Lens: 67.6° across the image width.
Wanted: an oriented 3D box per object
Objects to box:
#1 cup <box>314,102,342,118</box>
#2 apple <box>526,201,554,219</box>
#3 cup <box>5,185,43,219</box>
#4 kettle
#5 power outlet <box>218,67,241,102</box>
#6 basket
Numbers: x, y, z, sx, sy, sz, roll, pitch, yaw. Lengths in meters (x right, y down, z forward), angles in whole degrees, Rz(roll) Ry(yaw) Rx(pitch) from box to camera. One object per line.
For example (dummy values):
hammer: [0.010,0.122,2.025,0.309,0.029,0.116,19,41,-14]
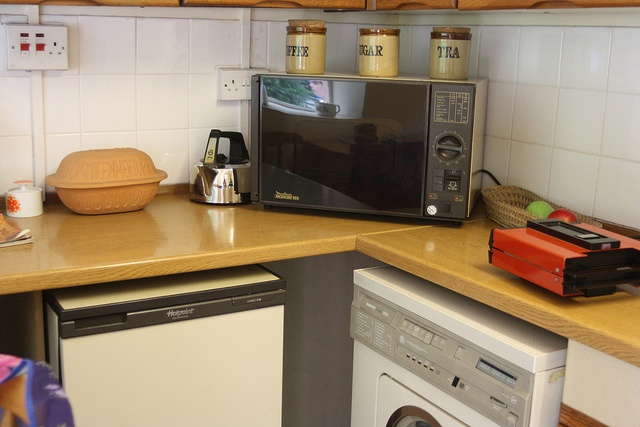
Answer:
cup: [0.030,-0.348,1.610,0.074,0.040,0.048,1,14,-2]
apple: [0.709,-0.013,1.549,0.077,0.059,0.062,4,20,10]
cup: [-1.014,-0.041,1.692,0.122,0.103,0.118,3,9,-1]
kettle: [-0.380,-0.194,1.893,0.254,0.258,0.257,15,19,29]
power outlet: [-0.356,-0.528,2.002,0.104,0.124,0.072,0,-5,7]
basket: [0.690,-0.047,1.644,0.149,0.062,0.285,-14,24,-39]
